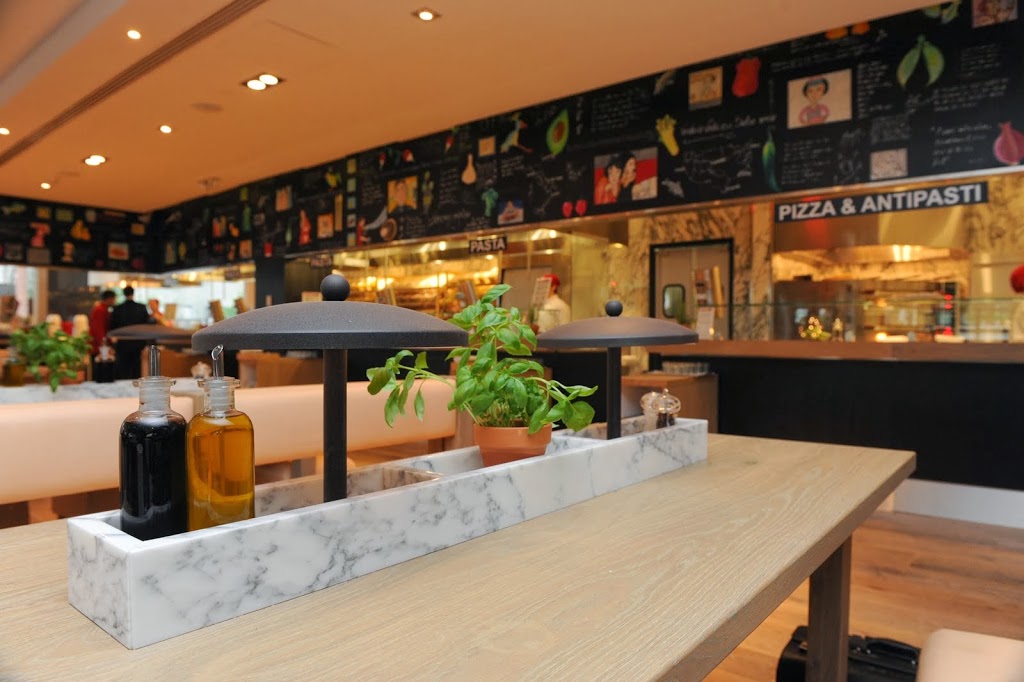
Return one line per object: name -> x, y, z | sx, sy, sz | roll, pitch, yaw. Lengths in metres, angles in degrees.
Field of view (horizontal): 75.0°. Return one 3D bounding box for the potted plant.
potted plant -> -0.038, 0.046, 1.793 | 0.642, 0.476, 0.471 | -3, 8, -24
